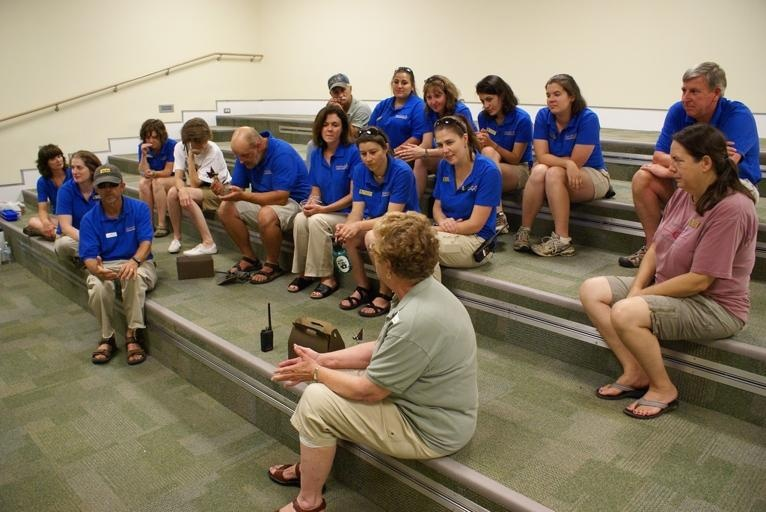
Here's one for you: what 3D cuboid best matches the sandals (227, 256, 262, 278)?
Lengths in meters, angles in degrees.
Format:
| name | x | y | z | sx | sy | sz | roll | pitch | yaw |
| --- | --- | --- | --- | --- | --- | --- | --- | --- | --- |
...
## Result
| name | x | y | z | sx | sy | sz | roll | pitch | yaw |
| --- | --- | --- | --- | --- | --- | --- | --- | --- | --- |
| sandals | -1.260 | 0.098 | 4.336 | 0.156 | 0.151 | 0.411 | 3 | 6 | 32 |

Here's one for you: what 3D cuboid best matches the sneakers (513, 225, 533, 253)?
| name | x | y | z | sx | sy | sz | roll | pitch | yaw |
| --- | --- | --- | --- | --- | --- | --- | --- | --- | --- |
| sneakers | 1.115 | -0.150 | 3.804 | 0.127 | 0.171 | 0.217 | 2 | 21 | 15 |

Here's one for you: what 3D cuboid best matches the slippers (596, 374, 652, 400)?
| name | x | y | z | sx | sy | sz | roll | pitch | yaw |
| --- | --- | --- | --- | --- | --- | --- | --- | --- | --- |
| slippers | 1.355 | 0.741 | 2.675 | 0.297 | 0.072 | 0.112 | 0 | 9 | 5 |

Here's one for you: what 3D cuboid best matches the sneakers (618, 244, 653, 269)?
| name | x | y | z | sx | sy | sz | roll | pitch | yaw |
| --- | --- | --- | --- | --- | --- | --- | --- | --- | --- |
| sneakers | 1.808 | 0.002 | 3.489 | 0.129 | 0.148 | 0.357 | -4 | 2 | -23 |

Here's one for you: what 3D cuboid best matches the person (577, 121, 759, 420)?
| name | x | y | z | sx | sy | sz | roll | pitch | yaw |
| --- | --- | --- | --- | --- | --- | --- | --- | --- | --- |
| person | 1.530 | 0.066 | 2.538 | 0.759 | 1.474 | 0.512 | -10 | 22 | -14 |

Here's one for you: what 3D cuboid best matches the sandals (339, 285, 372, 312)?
| name | x | y | z | sx | sy | sz | roll | pitch | yaw |
| --- | --- | --- | --- | --- | --- | --- | --- | --- | --- |
| sandals | -0.211 | 0.332 | 3.682 | 0.117 | 0.126 | 0.327 | 8 | 13 | 44 |

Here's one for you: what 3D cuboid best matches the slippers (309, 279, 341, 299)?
| name | x | y | z | sx | sy | sz | roll | pitch | yaw |
| --- | --- | --- | --- | --- | --- | --- | --- | --- | --- |
| slippers | -0.480 | 0.259 | 3.914 | 0.104 | 0.079 | 0.279 | 2 | 9 | 25 |

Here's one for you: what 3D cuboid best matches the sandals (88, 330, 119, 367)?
| name | x | y | z | sx | sy | sz | roll | pitch | yaw |
| --- | --- | --- | --- | --- | --- | --- | --- | --- | --- |
| sandals | -2.234 | 0.750 | 3.778 | 0.118 | 0.136 | 0.336 | -1 | 2 | -2 |

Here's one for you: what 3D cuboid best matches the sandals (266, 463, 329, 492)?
| name | x | y | z | sx | sy | sz | roll | pitch | yaw |
| --- | --- | --- | --- | --- | --- | --- | --- | --- | --- |
| sandals | -0.487 | 1.213 | 2.664 | 0.314 | 0.115 | 0.149 | 12 | 10 | 25 |

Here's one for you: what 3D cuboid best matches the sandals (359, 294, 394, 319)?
| name | x | y | z | sx | sy | sz | roll | pitch | yaw |
| --- | --- | --- | --- | --- | --- | --- | --- | --- | --- |
| sandals | -0.012 | 0.372 | 3.609 | 0.342 | 0.129 | 0.130 | -7 | 11 | -44 |

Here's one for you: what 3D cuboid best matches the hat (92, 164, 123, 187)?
| name | x | y | z | sx | sy | sz | roll | pitch | yaw |
| --- | --- | --- | --- | --- | --- | --- | --- | --- | --- |
| hat | -2.218 | -0.651 | 3.779 | 0.170 | 0.124 | 0.225 | -3 | 7 | -7 |

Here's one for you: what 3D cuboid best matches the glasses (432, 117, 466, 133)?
| name | x | y | z | sx | sy | sz | roll | pitch | yaw |
| --- | --- | --- | --- | --- | --- | --- | --- | --- | --- |
| glasses | 0.504 | -0.942 | 3.392 | 0.262 | 0.121 | 0.184 | -19 | 25 | -37 |

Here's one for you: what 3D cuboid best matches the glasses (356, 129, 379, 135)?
| name | x | y | z | sx | sy | sz | roll | pitch | yaw |
| --- | --- | --- | --- | --- | --- | --- | --- | --- | --- |
| glasses | -0.115 | -0.927 | 3.509 | 0.161 | 0.049 | 0.080 | 4 | 21 | 19 |

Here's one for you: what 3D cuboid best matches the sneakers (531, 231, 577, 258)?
| name | x | y | z | sx | sy | sz | roll | pitch | yaw |
| --- | --- | --- | --- | --- | --- | --- | --- | --- | --- |
| sneakers | 1.323 | -0.085 | 3.659 | 0.320 | 0.144 | 0.175 | -2 | 10 | -10 |

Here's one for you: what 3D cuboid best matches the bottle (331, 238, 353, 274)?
| name | x | y | z | sx | sy | sz | roll | pitch | yaw |
| --- | --- | --- | --- | --- | --- | --- | --- | --- | --- |
| bottle | -0.343 | 0.005 | 3.811 | 0.060 | 0.227 | 0.236 | -13 | -2 | -29 |

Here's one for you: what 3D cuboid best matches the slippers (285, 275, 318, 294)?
| name | x | y | z | sx | sy | sz | roll | pitch | yaw |
| --- | --- | --- | --- | --- | --- | --- | --- | --- | --- |
| slippers | -0.709 | 0.239 | 4.042 | 0.098 | 0.077 | 0.272 | 4 | 8 | 33 |

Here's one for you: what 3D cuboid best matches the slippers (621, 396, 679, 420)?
| name | x | y | z | sx | sy | sz | roll | pitch | yaw |
| --- | --- | --- | --- | --- | --- | --- | --- | --- | --- |
| slippers | 1.453 | 0.814 | 2.534 | 0.255 | 0.055 | 0.110 | -3 | 7 | -9 |

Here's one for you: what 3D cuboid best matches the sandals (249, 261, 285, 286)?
| name | x | y | z | sx | sy | sz | roll | pitch | yaw |
| --- | --- | --- | --- | --- | --- | --- | --- | --- | --- |
| sandals | -1.044 | 0.146 | 4.255 | 0.141 | 0.108 | 0.300 | 5 | 10 | 35 |

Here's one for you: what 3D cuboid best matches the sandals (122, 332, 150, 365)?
| name | x | y | z | sx | sy | sz | roll | pitch | yaw |
| --- | --- | --- | --- | --- | --- | --- | --- | --- | --- |
| sandals | -1.990 | 0.715 | 3.798 | 0.169 | 0.210 | 0.250 | -14 | 23 | -25 |

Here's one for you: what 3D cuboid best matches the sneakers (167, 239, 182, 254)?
| name | x | y | z | sx | sy | sz | roll | pitch | yaw |
| --- | --- | --- | --- | --- | --- | --- | --- | --- | --- |
| sneakers | -2.182 | -0.108 | 4.915 | 0.089 | 0.080 | 0.208 | -2 | 4 | -11 |

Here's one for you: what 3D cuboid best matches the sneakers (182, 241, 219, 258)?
| name | x | y | z | sx | sy | sz | roll | pitch | yaw |
| --- | --- | --- | --- | --- | --- | --- | --- | --- | --- |
| sneakers | -1.843 | -0.061 | 4.770 | 0.357 | 0.119 | 0.136 | -1 | 4 | -27 |
